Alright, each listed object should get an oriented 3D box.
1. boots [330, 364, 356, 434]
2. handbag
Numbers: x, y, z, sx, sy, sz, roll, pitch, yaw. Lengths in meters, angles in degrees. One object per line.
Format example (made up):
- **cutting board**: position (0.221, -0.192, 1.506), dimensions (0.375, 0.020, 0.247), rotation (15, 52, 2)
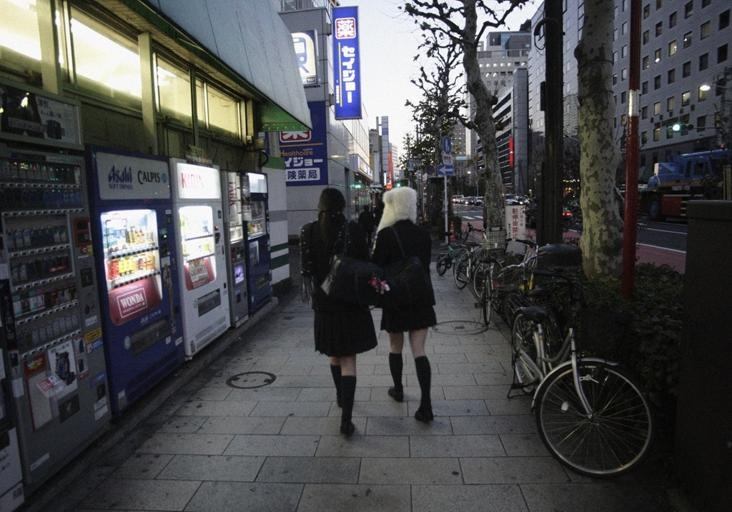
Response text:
- **boots**: position (-0.237, 1.539, 5.578), dimensions (0.219, 0.607, 0.655), rotation (-3, 12, -8)
- **handbag**: position (0.144, -0.045, 5.309), dimensions (1.018, 1.080, 0.552), rotation (2, 18, -12)
